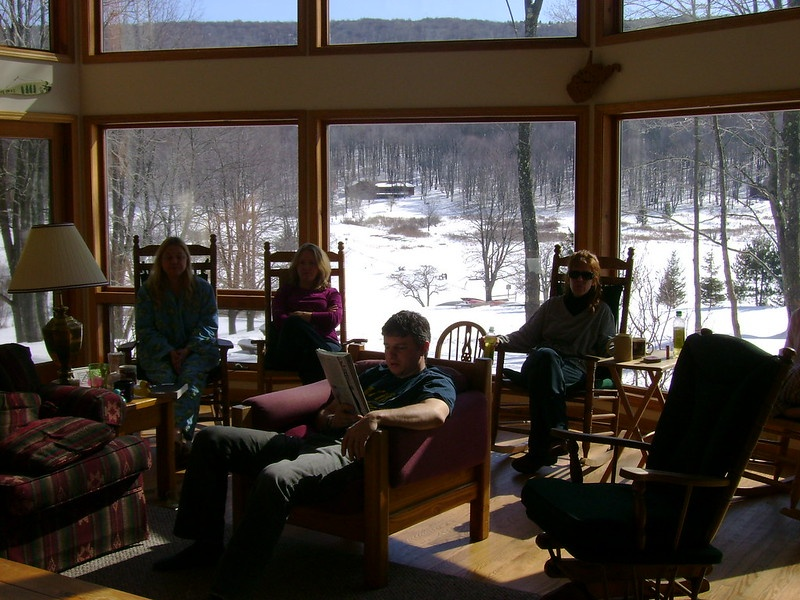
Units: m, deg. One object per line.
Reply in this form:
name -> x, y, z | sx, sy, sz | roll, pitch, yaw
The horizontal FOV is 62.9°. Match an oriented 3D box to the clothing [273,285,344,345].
clothing -> -0.694, 0.110, 4.892 | 0.502, 0.457, 0.289 | 2, -2, -5

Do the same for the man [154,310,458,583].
man -> -0.329, 0.672, 3.313 | 1.393, 1.429, 0.944 | 7, 8, -35

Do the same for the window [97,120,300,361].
window -> -1.545, -0.517, 5.244 | 1.961, 2.445, 0.168 | 0, 0, 5

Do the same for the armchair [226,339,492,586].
armchair -> -0.130, 0.634, 3.270 | 1.060, 1.025, 1.029 | 0, 1, 35

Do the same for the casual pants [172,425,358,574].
casual pants -> -0.542, 0.797, 2.893 | 0.505, 0.347, 0.799 | 12, 16, 38

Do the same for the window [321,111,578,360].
window -> 0.449, -0.549, 4.983 | 1.904, 1.961, 0.083 | 0, 5, 10
